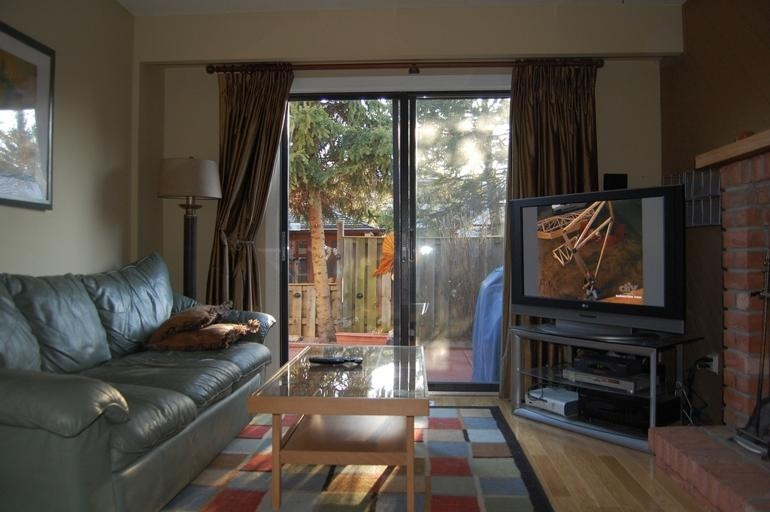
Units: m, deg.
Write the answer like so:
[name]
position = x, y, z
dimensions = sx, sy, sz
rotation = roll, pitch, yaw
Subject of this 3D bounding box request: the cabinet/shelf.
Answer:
[cabinet/shelf]
position = 1.685, 0.849, 4.780
dimensions = 1.152, 0.714, 0.693
rotation = -2, 11, 40

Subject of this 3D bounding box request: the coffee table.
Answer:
[coffee table]
position = -0.220, 1.064, 3.981
dimensions = 0.754, 0.536, 1.116
rotation = 0, -4, 4

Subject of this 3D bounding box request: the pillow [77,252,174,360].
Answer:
[pillow]
position = -1.885, 0.390, 4.404
dimensions = 0.253, 0.492, 0.660
rotation = -7, 10, 16

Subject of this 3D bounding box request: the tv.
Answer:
[tv]
position = 1.659, 0.076, 4.598
dimensions = 1.240, 0.915, 0.134
rotation = -2, -2, 34

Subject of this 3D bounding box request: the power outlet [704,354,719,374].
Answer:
[power outlet]
position = 2.472, 0.801, 4.548
dimensions = 0.038, 0.153, 0.113
rotation = -1, 3, -30
